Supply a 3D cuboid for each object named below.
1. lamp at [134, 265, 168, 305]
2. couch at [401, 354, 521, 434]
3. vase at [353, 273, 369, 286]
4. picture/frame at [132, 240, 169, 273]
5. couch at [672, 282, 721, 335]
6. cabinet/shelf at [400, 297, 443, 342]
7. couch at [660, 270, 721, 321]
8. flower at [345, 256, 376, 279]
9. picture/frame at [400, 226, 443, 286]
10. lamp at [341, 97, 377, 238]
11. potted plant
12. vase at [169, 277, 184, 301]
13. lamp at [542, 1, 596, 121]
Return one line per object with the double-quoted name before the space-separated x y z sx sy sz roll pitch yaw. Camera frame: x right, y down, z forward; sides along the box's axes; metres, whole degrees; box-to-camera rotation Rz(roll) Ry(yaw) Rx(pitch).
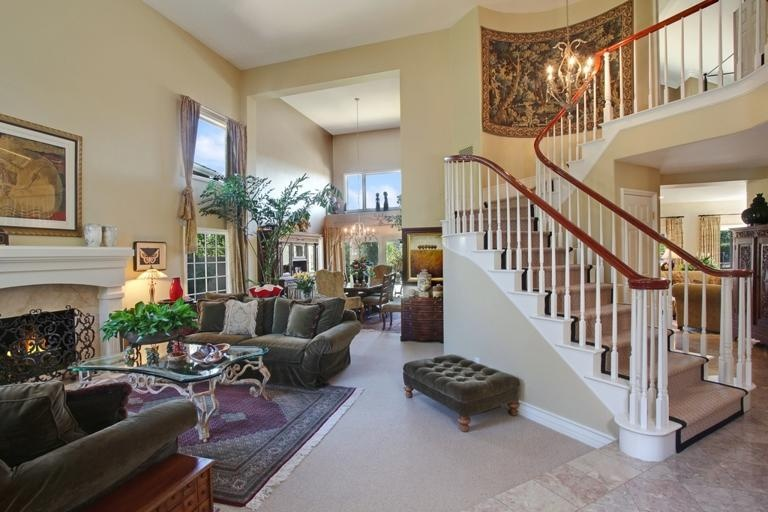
"lamp" -4.011 0.500 8.505 0.570 0.749 0.548 0 1 8
"couch" 0.990 1.776 6.574 0.886 0.514 1.349 -4 1 -41
"vase" -0.557 0.571 11.637 0.288 0.201 0.273 -2 -3 36
"picture/frame" -4.061 0.005 8.496 0.073 0.500 0.576 -3 -3 33
"couch" 5.449 0.922 8.566 0.620 0.769 1.083 2 0 37
"cabinet/shelf" 0.726 1.178 9.216 0.841 0.824 0.490 0 -1 18
"couch" 5.085 0.694 8.146 0.653 0.845 1.139 -1 -1 38
"flower" -0.552 0.272 11.933 0.718 0.499 0.624 -1 3 -33
"picture/frame" 0.754 -0.018 9.618 1.169 1.332 0.096 0 4 4
"lamp" -0.789 -2.191 13.718 0.880 2.719 2.630 -4 1 -5
"potted plant" -2.965 0.880 6.300 0.971 0.551 0.981 -3 -5 17
"vase" -3.713 0.593 8.793 0.248 0.412 0.588 -4 1 -24
"lamp" 3.163 -3.441 8.482 0.838 2.154 1.051 -3 2 21
